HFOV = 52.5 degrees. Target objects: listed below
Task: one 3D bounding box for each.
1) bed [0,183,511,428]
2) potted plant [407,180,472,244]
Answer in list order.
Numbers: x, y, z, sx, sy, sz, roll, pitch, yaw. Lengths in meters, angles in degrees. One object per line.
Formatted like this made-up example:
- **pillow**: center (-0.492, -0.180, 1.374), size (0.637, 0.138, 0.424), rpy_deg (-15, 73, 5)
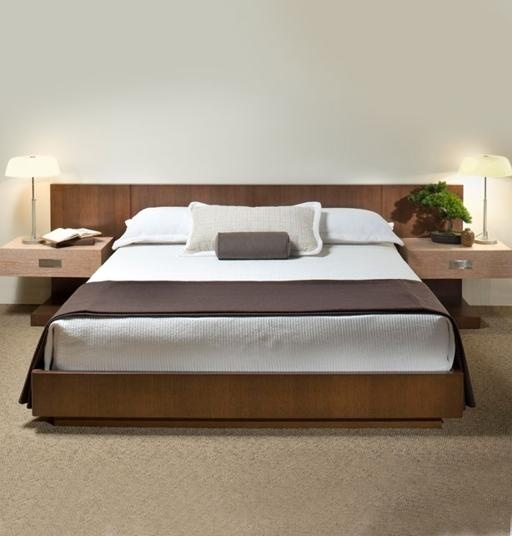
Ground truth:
- **bed**: center (0.157, 0.303, 3.020), size (2.161, 0.743, 2.319), rpy_deg (-2, -4, 0)
- **potted plant**: center (1.367, -0.393, 3.754), size (0.491, 0.426, 0.379), rpy_deg (1, 4, -17)
